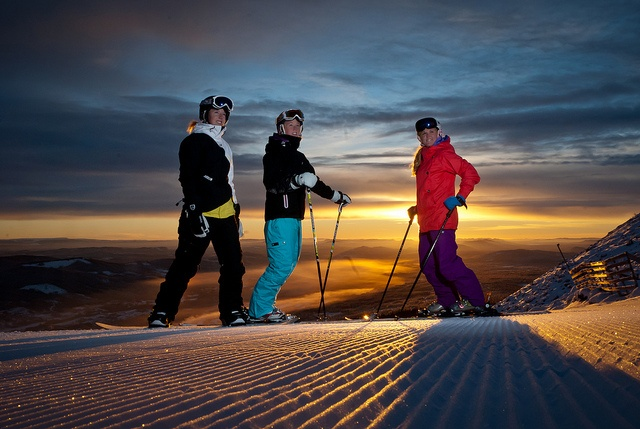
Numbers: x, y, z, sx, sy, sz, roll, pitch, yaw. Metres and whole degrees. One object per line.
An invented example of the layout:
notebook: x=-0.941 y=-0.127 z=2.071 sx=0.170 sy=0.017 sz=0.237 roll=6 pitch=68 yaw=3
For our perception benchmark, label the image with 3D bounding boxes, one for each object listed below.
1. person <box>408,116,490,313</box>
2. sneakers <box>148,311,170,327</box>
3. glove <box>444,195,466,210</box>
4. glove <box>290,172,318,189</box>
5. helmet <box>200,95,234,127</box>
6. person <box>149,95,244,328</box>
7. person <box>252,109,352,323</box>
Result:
person: x=1.854 y=-0.012 z=6.190 sx=1.127 sy=2.929 sz=0.603 roll=1 pitch=-4 yaw=24
sneakers: x=-2.026 y=1.292 z=5.200 sx=0.311 sy=0.165 sz=0.198 roll=1 pitch=-2 yaw=2
glove: x=1.931 y=-0.182 z=5.981 sx=0.373 sy=0.211 sz=0.257 roll=0 pitch=-3 yaw=35
glove: x=-0.168 y=-0.466 z=5.718 sx=0.304 sy=0.224 sz=0.325 roll=4 pitch=-3 yaw=-43
helmet: x=-1.463 y=-1.465 z=5.770 sx=0.490 sy=0.268 sz=0.372 roll=4 pitch=5 yaw=24
person: x=-1.493 y=0.086 z=5.470 sx=1.207 sy=2.669 sz=0.529 roll=4 pitch=-4 yaw=-18
person: x=-0.418 y=-0.001 z=5.845 sx=0.956 sy=2.997 sz=0.668 roll=2 pitch=-4 yaw=8
